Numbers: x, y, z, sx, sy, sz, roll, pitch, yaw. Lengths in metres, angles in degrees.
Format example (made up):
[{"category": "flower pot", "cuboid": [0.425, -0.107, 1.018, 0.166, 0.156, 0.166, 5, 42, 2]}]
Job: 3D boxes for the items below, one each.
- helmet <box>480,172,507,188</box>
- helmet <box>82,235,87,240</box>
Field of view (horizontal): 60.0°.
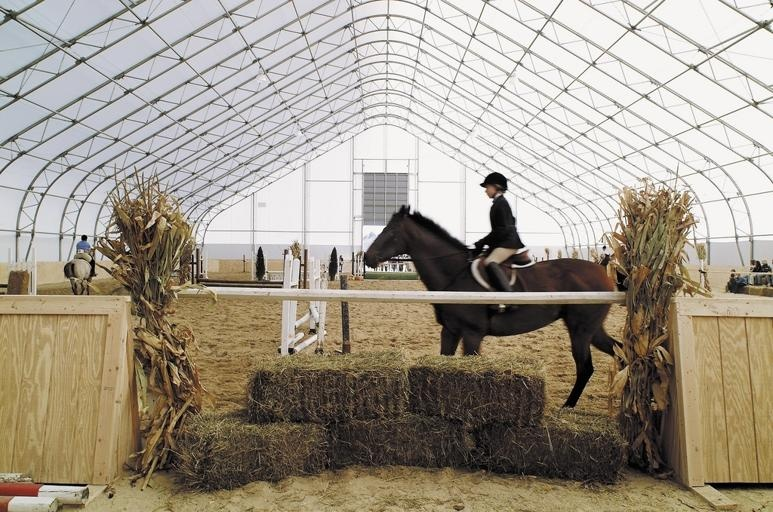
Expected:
[{"category": "helmet", "cuboid": [1.675, -1.147, 10.279, 0.316, 0.195, 0.251, 16, -1, 10]}, {"category": "helmet", "cuboid": [-8.466, -0.520, 18.864, 0.125, 0.127, 0.143, 0, 4, -26]}]
